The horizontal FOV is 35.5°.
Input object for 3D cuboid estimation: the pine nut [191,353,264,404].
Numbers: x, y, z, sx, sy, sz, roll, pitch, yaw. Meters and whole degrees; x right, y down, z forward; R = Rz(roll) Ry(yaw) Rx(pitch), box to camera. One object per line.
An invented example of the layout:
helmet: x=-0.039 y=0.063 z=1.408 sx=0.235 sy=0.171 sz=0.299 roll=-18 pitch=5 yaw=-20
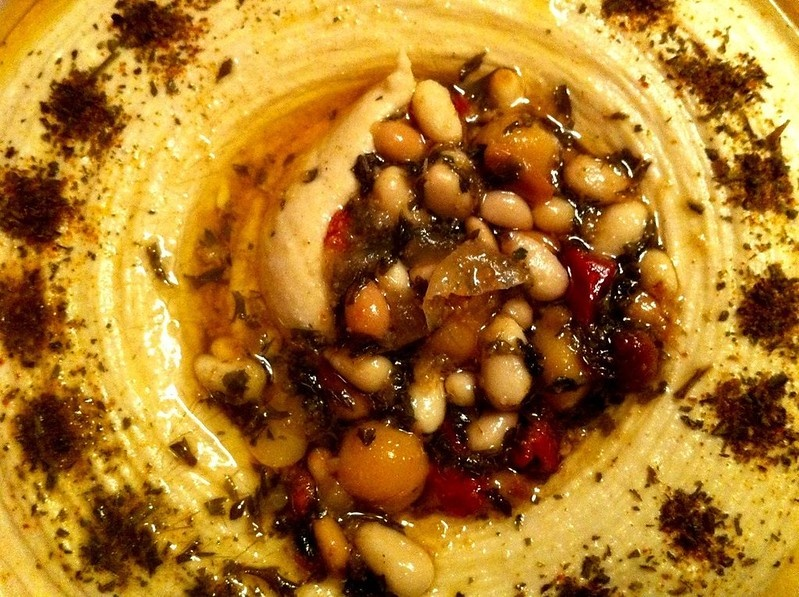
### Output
pine nut: x=-0.584 y=0.276 z=4.262 sx=0.219 sy=0.081 sz=0.147 roll=18 pitch=95 yaw=-2

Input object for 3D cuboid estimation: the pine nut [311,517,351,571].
pine nut: x=-0.221 y=0.832 z=4.231 sx=0.093 sy=0.093 sz=0.187 roll=-23 pitch=83 yaw=-19
